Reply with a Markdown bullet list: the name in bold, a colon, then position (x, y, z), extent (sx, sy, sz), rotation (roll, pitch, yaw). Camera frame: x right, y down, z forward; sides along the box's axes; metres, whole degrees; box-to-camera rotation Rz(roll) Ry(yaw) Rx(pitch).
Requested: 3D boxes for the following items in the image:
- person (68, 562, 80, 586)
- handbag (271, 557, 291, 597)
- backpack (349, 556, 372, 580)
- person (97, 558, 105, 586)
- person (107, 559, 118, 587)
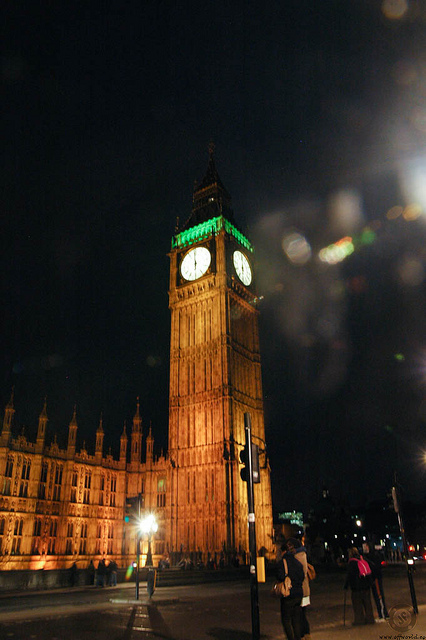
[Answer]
- **person**: position (-6.821, 12.725, 24.840), extent (0.441, 0.769, 0.655), rotation (-19, -30, 33)
- **handbag**: position (0.992, 3.888, 7.573), extent (0.337, 0.531, 0.344), rotation (-17, -28, 29)
- **backpack**: position (3.023, 5.035, 10.249), extent (0.327, 0.458, 0.430), rotation (11, -44, -28)
- **person**: position (-5.353, 12.168, 24.112), extent (0.291, 1.050, 0.561), rotation (4, -25, -13)
- **person**: position (-5.015, 12.652, 25.068), extent (0.441, 1.115, 0.895), rotation (5, -26, -15)
